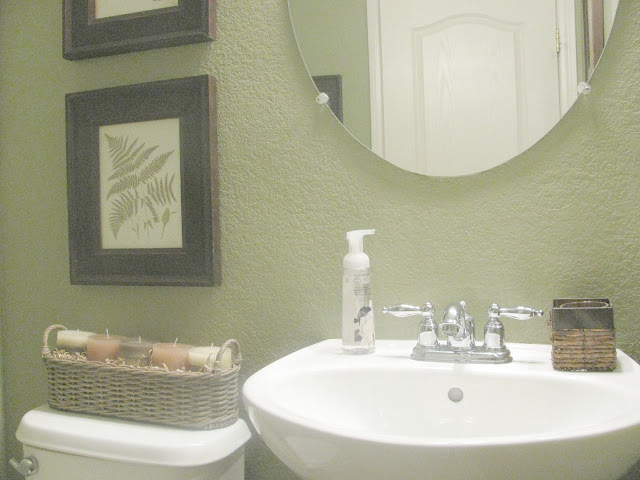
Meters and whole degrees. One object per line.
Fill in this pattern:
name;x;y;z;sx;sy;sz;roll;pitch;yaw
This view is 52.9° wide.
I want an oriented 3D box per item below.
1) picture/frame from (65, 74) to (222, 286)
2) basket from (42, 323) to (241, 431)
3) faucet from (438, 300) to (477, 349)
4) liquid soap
picture/frame;-0.476;-0.161;1.798;0.595;0.690;0.053;-2;-1;22
basket;-0.448;0.338;1.623;0.514;0.225;0.170;0;-2;22
faucet;0.308;0.188;1.427;0.067;0.110;0.112;-2;-20;18
liquid soap;0.089;0.123;1.522;0.075;0.290;0.035;1;-1;8
